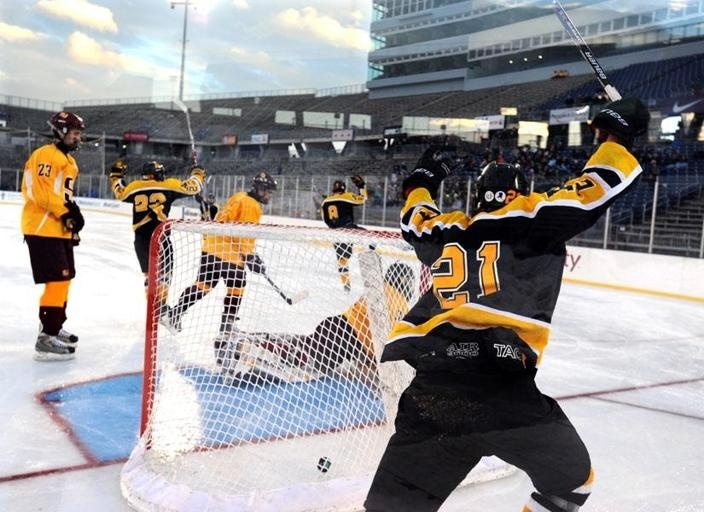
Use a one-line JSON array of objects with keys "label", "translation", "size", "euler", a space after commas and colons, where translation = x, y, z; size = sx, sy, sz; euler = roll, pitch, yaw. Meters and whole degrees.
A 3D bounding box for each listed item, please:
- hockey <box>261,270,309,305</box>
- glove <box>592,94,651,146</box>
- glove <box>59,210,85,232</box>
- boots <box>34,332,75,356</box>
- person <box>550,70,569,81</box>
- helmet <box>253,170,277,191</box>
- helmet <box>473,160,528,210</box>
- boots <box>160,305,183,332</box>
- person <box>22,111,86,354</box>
[{"label": "hockey", "translation": [-0.441, 0.246, 4.502], "size": [0.233, 0.217, 0.209], "euler": [20, 29, -46]}, {"label": "glove", "translation": [1.277, -0.639, 3.280], "size": [0.207, 0.220, 0.287], "euler": [49, -13, -27]}, {"label": "glove", "translation": [-2.252, -0.266, 5.384], "size": [0.154, 0.195, 0.086], "euler": [1, 28, 5]}, {"label": "boots", "translation": [-2.398, 0.713, 5.426], "size": [0.304, 0.171, 0.160], "euler": [1, 3, -15]}, {"label": "person", "translation": [8.071, -6.962, 25.933], "size": [0.621, 0.280, 0.798], "euler": [0, 28, 23]}, {"label": "helmet", "translation": [-0.773, -0.657, 5.998], "size": [0.226, 0.130, 0.152], "euler": [2, 12, 8]}, {"label": "helmet", "translation": [0.681, -0.326, 3.141], "size": [0.221, 0.233, 0.249], "euler": [2, 13, 10]}, {"label": "boots", "translation": [-1.169, 0.402, 4.242], "size": [0.079, 0.094, 0.226], "euler": [0, 0, -37]}, {"label": "person", "translation": [-2.411, -0.178, 5.396], "size": [0.444, 1.959, 0.417], "euler": [0, 7, -24]}]
